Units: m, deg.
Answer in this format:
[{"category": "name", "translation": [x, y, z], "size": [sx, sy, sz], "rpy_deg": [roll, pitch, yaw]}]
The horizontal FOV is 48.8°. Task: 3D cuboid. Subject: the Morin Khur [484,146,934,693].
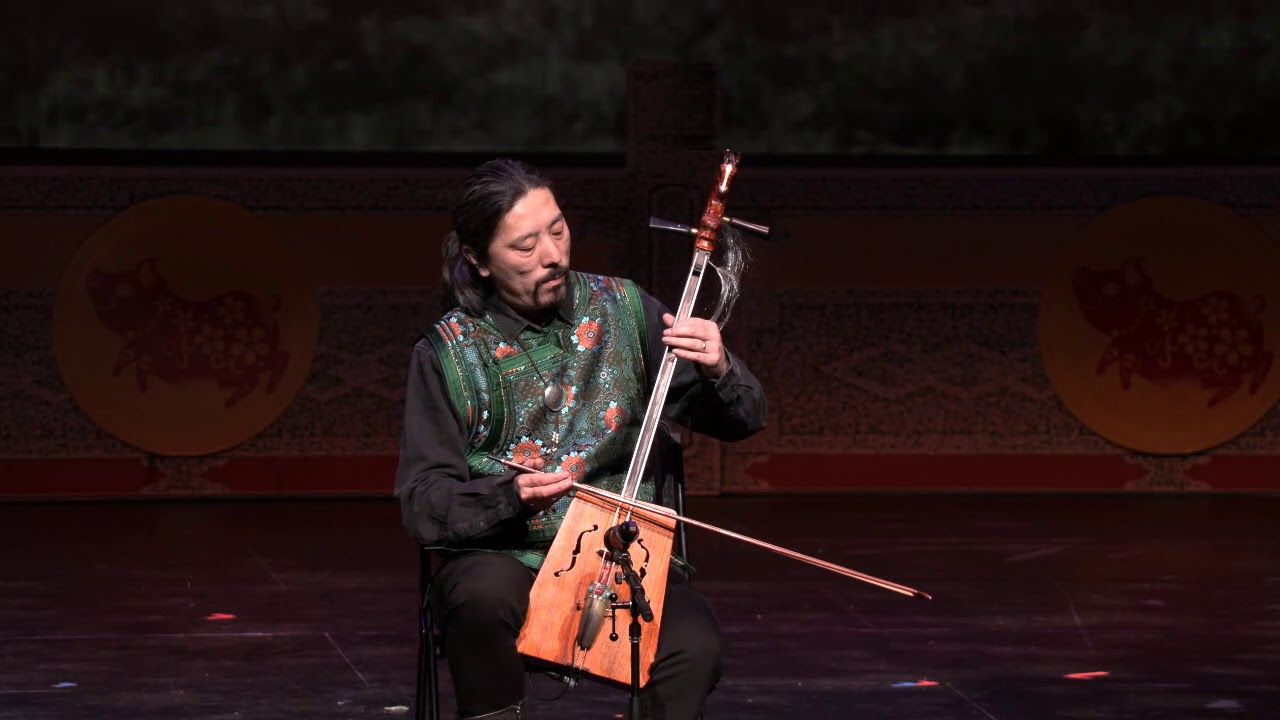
[{"category": "Morin Khur", "translation": [-0.004, 0.427, 7.078], "size": [1.275, 2.421, 0.716], "rpy_deg": [-11, 19, -35]}]
